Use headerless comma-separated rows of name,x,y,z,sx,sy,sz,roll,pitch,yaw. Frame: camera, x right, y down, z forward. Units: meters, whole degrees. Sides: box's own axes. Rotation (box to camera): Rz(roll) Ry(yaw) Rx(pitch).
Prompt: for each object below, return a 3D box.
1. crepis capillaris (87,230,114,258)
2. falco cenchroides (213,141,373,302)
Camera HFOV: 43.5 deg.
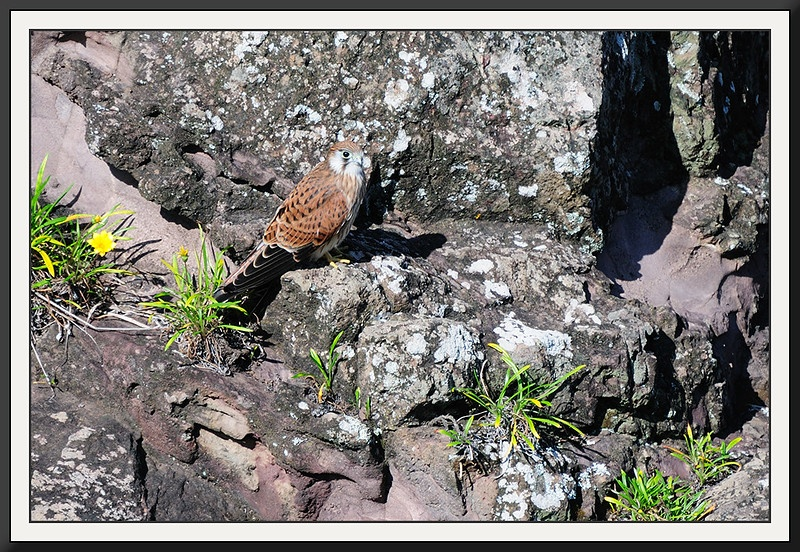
crepis capillaris,-2.710,-0.280,9.135,0.246,0.230,0.257,8,5,-18
falco cenchroides,-1.006,-0.489,8.899,1.573,1.055,0.700,-14,21,-2
